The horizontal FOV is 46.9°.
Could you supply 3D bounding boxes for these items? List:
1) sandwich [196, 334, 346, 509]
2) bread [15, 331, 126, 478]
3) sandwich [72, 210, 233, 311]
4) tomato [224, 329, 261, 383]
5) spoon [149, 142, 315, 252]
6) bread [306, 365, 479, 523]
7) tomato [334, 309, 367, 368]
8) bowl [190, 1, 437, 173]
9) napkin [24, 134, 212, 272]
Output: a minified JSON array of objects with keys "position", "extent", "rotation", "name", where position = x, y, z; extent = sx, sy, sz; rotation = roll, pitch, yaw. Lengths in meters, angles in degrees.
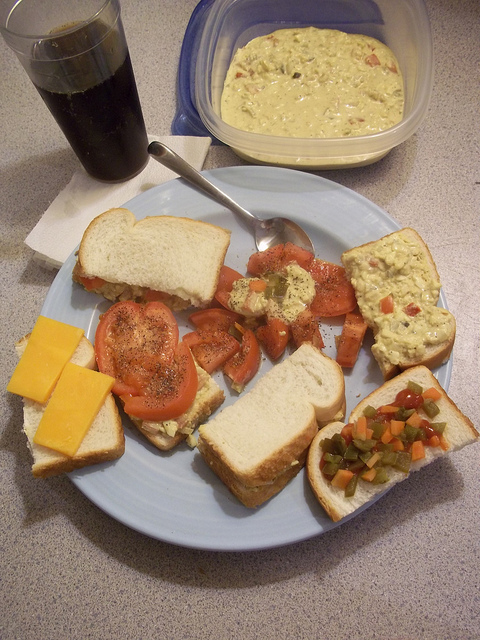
[{"position":[0.164,0.333,1.748],"extent":[0.519,0.181,0.343],"rotation":[-38,58,-15],"name":"sandwich"},{"position":[-0.519,0.316,1.786],"extent":[0.273,0.093,0.466],"rotation":[-16,35,-10],"name":"bread"},{"position":[-0.290,-0.212,1.905],"extent":[0.510,0.244,0.323],"rotation":[0,65,8],"name":"sandwich"},{"position":[0.002,0.110,1.806],"extent":[0.125,0.065,0.220],"rotation":[2,46,5],"name":"tomato"},{"position":[-0.021,-0.414,1.922],"extent":[0.673,0.090,0.147],"rotation":[33,92,3],"name":"spoon"},{"position":[0.404,0.357,1.622],"extent":[0.487,0.261,0.271],"rotation":[-29,64,-6],"name":"bread"},{"position":[0.354,0.063,1.757],"extent":[0.050,0.131,0.132],"rotation":[15,49,1],"name":"tomato"},{"position":[0.268,-0.908,2.035],"extent":[0.827,0.213,0.789],"rotation":[-3,64,7],"name":"bowl"},{"position":[-0.515,-0.436,2.034],"extent":[0.597,0.153,0.543],"rotation":[-1,64,5],"name":"napkin"}]
